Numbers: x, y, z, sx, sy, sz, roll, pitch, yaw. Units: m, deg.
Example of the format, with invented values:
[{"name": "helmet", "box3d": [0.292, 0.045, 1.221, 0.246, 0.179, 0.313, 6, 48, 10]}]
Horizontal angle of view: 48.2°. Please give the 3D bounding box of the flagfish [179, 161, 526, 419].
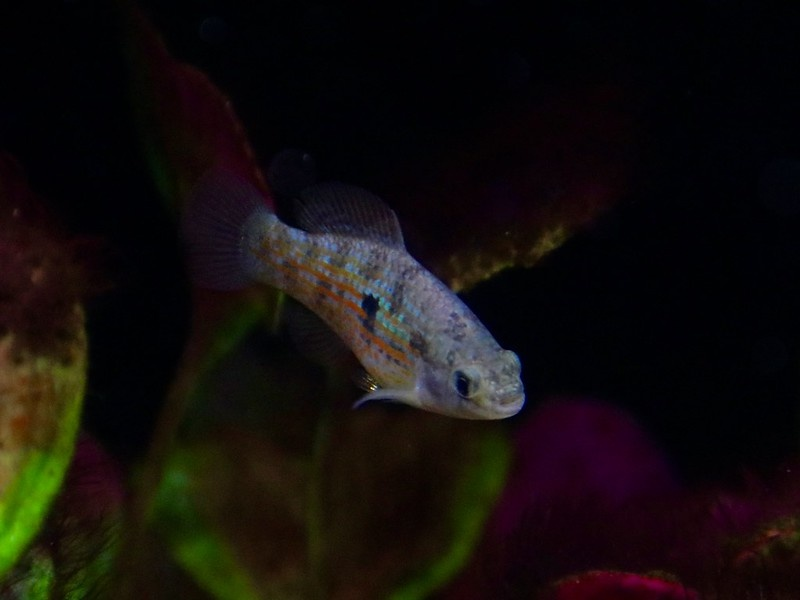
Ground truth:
[{"name": "flagfish", "box3d": [-0.090, -0.020, 1.481, 0.685, 0.278, 0.154, 35, 31, 22]}]
